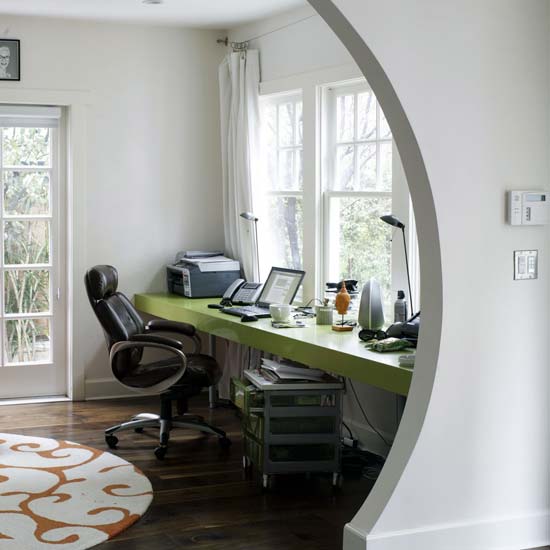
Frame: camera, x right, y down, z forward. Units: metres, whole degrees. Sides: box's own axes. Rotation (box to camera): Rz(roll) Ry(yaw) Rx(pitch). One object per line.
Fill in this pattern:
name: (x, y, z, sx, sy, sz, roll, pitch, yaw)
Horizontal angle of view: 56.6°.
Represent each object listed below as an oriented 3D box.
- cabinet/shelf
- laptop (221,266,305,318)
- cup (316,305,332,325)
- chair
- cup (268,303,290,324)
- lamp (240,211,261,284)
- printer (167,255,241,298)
cabinet/shelf: (0.053, 0.826, 2.846, 0.476, 0.550, 0.702, 1, -6, -10)
laptop: (-0.094, 0.100, 3.382, 0.551, 0.334, 0.529, 6, 3, 37)
cup: (0.284, 0.239, 2.972, 0.091, 0.095, 0.085, 0, 2, 0)
chair: (-0.754, 0.532, 3.332, 0.832, 1.175, 0.777, -1, 1, 2)
cup: (0.027, 0.224, 2.976, 0.093, 0.083, 0.106, 0, -1, 0)
lamp: (-0.258, -0.213, 3.966, 0.151, 0.537, 0.127, 16, 2, -8)
printer: (-0.593, -0.006, 4.250, 0.602, 0.344, 0.573, 6, 7, 38)
